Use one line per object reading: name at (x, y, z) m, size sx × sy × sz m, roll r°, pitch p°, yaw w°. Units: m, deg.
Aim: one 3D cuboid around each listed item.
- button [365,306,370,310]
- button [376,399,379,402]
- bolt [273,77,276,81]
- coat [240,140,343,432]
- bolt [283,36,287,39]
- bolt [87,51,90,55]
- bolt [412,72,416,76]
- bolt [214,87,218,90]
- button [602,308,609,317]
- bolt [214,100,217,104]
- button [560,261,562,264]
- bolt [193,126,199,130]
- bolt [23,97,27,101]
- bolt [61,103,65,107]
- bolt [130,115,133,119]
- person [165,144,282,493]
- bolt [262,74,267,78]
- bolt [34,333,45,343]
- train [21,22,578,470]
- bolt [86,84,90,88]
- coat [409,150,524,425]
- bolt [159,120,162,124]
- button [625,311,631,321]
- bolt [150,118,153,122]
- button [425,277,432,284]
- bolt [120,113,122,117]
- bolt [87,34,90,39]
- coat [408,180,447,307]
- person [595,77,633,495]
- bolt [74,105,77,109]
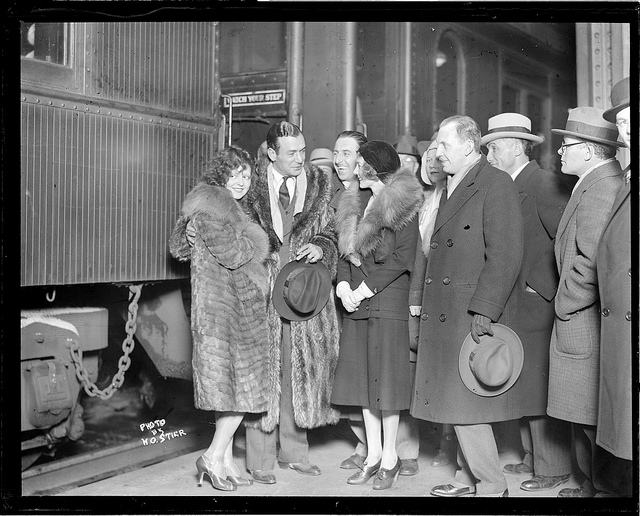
button at (0.275, 0.293, 4.013) m, size 0.020 × 0.019 × 0.002 m, roll 1°, pitch 4°, yaw 27°
button at (0.330, 0.819, 3.937) m, size 0.015 × 0.017 × 0.015 m, roll 6°, pitch -8°, yaw -26°
bolt at (-0.442, -1.709, 6.536) m, size 0.028 × 0.011 × 0.032 m, roll -2°, pitch -12°, yaw -11°
coat at (-0.193, 0.236, 4.179) m, size 0.668 × 2.059 × 0.584 m, roll 6°, pitch 24°, yaw 10°
bolt at (-0.337, -2.069, 6.441) m, size 0.035 × 0.040 × 0.009 m, roll 8°, pitch 3°, yaw 26°
bolt at (-1.352, -1.187, 3.978) m, size 0.018 × 0.019 × 0.004 m, roll -7°, pitch 12°, yaw -41°
bolt at (0.850, -1.663, 6.211) m, size 0.023 × 0.028 × 0.006 m, roll -3°, pitch 4°, yaw -30°
bolt at (-0.722, -1.160, 4.709) m, size 0.018 × 0.020 × 0.004 m, roll -1°, pitch 7°, yaw -35°
button at (1.381, 0.262, 3.305) m, size 0.033 × 0.041 × 0.009 m, roll -2°, pitch -3°, yaw 13°
bolt at (-0.725, -1.069, 4.707) m, size 0.020 × 0.024 × 0.005 m, roll -2°, pitch 5°, yaw -36°
button at (1.302, 0.026, 3.705) m, size 0.010 × 0.016 × 0.005 m, roll -1°, pitch 0°, yaw -11°
bolt at (-0.839, -0.869, 4.591) m, size 0.025 × 0.030 × 0.006 m, roll -4°, pitch 1°, yaw -26°
bolt at (-1.611, -0.861, 3.717) m, size 0.020 × 0.024 × 0.005 m, roll -3°, pitch 3°, yaw -9°
bolt at (-1.465, -0.867, 3.887) m, size 0.018 × 0.022 × 0.004 m, roll 0°, pitch 3°, yaw -20°
bolt at (-1.168, -0.866, 4.212) m, size 0.017 × 0.021 × 0.004 m, roll 7°, pitch 5°, yaw 29°
person at (-0.552, 0.346, 4.049) m, size 0.607 × 1.988 × 0.566 m, roll -1°, pitch 4°, yaw 1°
bolt at (-0.541, -1.755, 6.602) m, size 0.051 × 0.040 × 0.013 m, roll 7°, pitch 1°, yaw 21°
bolt at (-1.586, 0.448, 3.846) m, size 0.048 × 0.056 × 0.011 m, roll 4°, pitch -1°, yaw -44°
train at (-0.220, 0.001, 4.256) m, size 2.745 × 2.865 × 1.141 m, roll -7°, pitch 7°, yaw -40°
bolt at (-1.361, -0.999, 3.989) m, size 0.020 × 0.025 × 0.005 m, roll 8°, pitch -1°, yaw 8°
coat at (0.785, 0.167, 3.689) m, size 0.587 × 1.426 × 0.324 m, roll 0°, pitch 4°, yaw 18°
bolt at (-1.024, -0.867, 4.381) m, size 0.004 × 0.025 × 0.020 m, roll 1°, pitch 5°, yaw 31°
button at (1.460, 0.283, 3.243) m, size 0.006 × 0.031 × 0.028 m, roll -1°, pitch 28°, yaw 44°
bolt at (-1.073, -0.867, 4.324) m, size 0.004 × 0.022 × 0.020 m, roll 8°, pitch 3°, yaw 1°
button at (0.596, 0.124, 3.767) m, size 0.029 × 0.035 × 0.008 m, roll -4°, pitch -10°, yaw 29°
bolt at (-1.217, -0.864, 4.159) m, size 0.005 × 0.024 × 0.022 m, roll -1°, pitch 29°, yaw -46°
bolt at (-1.351, -1.284, 3.972) m, size 0.022 × 0.027 × 0.006 m, roll -1°, pitch 3°, yaw -16°
coat at (0.646, -0.065, 4.304) m, size 0.178 × 0.934 × 0.254 m, roll 6°, pitch -2°, yaw 2°
person at (1.471, 0.207, 3.402) m, size 0.182 × 2.179 × 0.496 m, roll 1°, pitch 4°, yaw 22°
bolt at (-1.412, -0.865, 3.936) m, size 0.019 × 0.023 × 0.005 m, roll 1°, pitch 2°, yaw -14°
